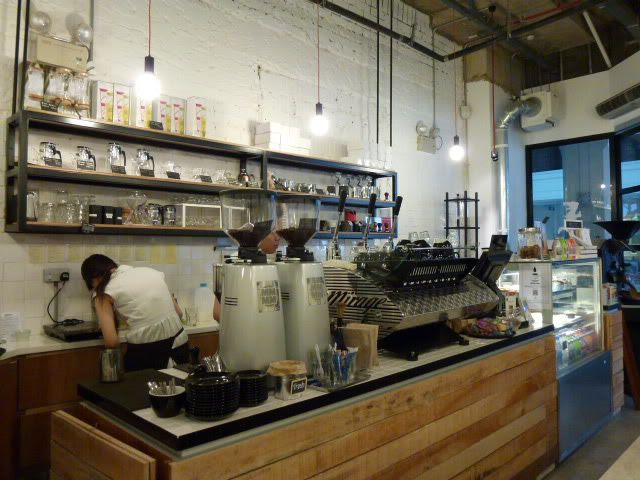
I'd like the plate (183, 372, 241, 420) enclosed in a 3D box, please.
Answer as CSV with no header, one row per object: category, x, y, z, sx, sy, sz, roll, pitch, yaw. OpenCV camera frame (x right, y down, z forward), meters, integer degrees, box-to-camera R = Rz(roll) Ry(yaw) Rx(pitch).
plate,-0.463,0.652,2.236,0.182,0.138,0.184,2,-6,-14

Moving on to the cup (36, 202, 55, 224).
cup,-2.241,-0.234,4.263,0.168,0.214,0.149,0,-1,-17

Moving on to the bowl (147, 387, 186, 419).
bowl,-0.662,0.698,2.244,0.128,0.090,0.124,-1,-5,0

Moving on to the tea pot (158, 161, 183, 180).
tea pot,-1.427,-0.666,4.993,0.242,0.254,0.156,0,2,22

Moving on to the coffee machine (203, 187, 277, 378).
coffee machine,-0.326,0.185,2.575,0.305,0.867,0.453,1,14,-34

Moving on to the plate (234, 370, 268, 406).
plate,-0.317,0.659,2.377,0.137,0.121,0.139,-1,0,-22

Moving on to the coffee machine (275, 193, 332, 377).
coffee machine,-0.081,0.213,2.702,0.385,0.861,0.385,8,12,-6

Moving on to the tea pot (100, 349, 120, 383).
tea pot,-1.056,0.630,2.613,0.106,0.152,0.146,3,-4,-37

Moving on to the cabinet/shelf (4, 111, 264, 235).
cabinet/shelf,-1.848,-0.546,4.553,1.560,0.987,0.557,0,15,-35

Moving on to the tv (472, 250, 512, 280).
tv,1.305,0.189,3.898,0.224,0.232,0.119,-24,54,-34

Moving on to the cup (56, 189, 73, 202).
cup,-2.207,-0.385,4.491,0.106,0.125,0.113,-3,4,0

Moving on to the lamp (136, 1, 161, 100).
lamp,-1.530,-1.689,4.685,0.229,0.834,0.916,5,13,-18
